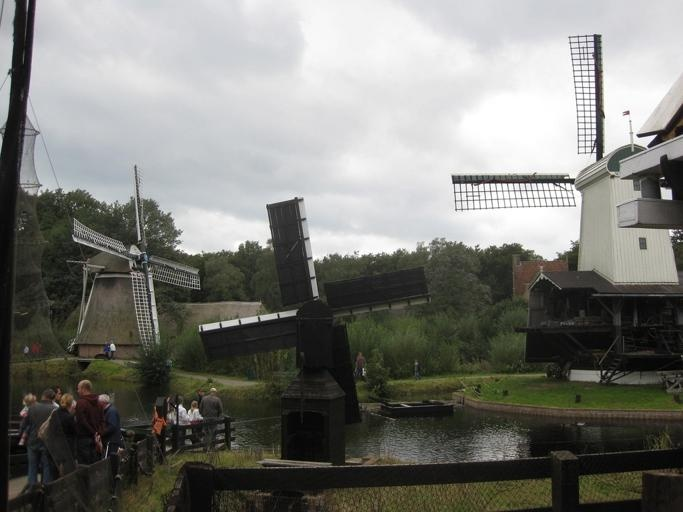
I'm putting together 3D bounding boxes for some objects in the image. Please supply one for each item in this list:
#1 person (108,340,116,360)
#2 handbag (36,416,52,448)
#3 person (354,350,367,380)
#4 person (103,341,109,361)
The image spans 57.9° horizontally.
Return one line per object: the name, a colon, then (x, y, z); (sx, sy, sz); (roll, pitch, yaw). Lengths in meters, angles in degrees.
person: (-15.710, 6.347, 42.445); (0.403, 1.241, 1.011); (0, -6, -22)
handbag: (-4.922, 2.876, 10.294); (0.177, 0.439, 0.744); (0, -6, -25)
person: (1.065, 6.261, 35.288); (0.505, 1.479, 1.760); (-2, -5, -4)
person: (-16.107, 6.388, 42.451); (0.344, 1.217, 0.872); (0, -6, -22)
